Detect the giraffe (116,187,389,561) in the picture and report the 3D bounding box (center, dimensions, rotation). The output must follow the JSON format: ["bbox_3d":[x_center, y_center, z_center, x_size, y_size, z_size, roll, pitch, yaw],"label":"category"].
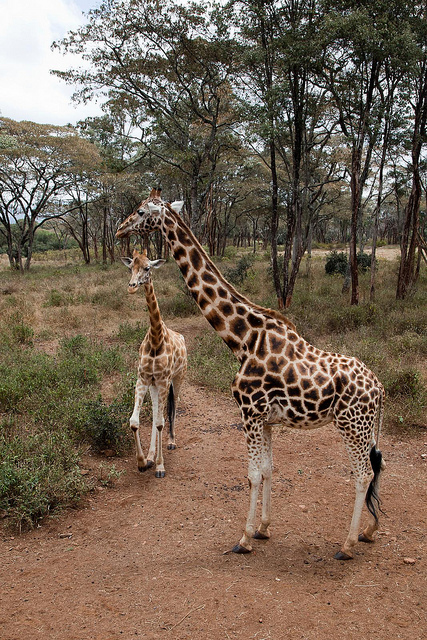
[{"bbox_3d":[0.393,0.440,5.766,1.950,2.860,0.893,6,14,33],"label":"giraffe"}]
